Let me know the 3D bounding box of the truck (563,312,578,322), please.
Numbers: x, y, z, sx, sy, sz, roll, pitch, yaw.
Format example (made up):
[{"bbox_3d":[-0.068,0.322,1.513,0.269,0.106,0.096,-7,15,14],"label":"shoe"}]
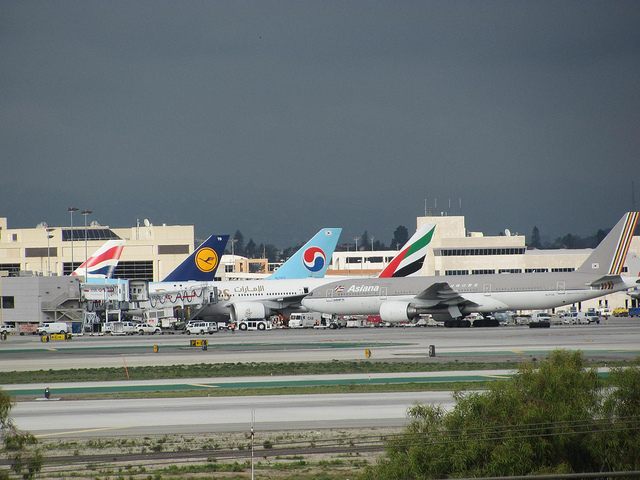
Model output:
[{"bbox_3d":[19.914,6.180,108.072,1.131,1.017,3.185,-2,-9,10],"label":"truck"}]

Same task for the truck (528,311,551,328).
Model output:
[{"bbox_3d":[16.772,6.102,103.288,1.090,1.021,1.976,-1,-7,-3],"label":"truck"}]

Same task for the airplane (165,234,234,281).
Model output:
[{"bbox_3d":[-11.146,1.639,121.323,6.328,2.814,4.366,-9,4,-40],"label":"airplane"}]

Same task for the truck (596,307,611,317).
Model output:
[{"bbox_3d":[25.015,6.351,119.914,1.276,0.875,1.947,1,4,9],"label":"truck"}]

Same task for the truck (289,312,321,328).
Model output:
[{"bbox_3d":[-1.039,6.256,105.648,2.164,0.999,1.432,3,-5,-37],"label":"truck"}]

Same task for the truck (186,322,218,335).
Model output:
[{"bbox_3d":[-8.557,6.423,98.044,1.463,0.556,1.052,2,0,23],"label":"truck"}]

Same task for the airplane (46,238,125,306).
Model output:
[{"bbox_3d":[-18.433,2.930,108.423,7.372,4.728,4.823,3,17,32],"label":"airplane"}]

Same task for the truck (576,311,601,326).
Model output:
[{"bbox_3d":[21.062,6.205,107.075,1.204,0.895,1.739,1,-7,-36],"label":"truck"}]

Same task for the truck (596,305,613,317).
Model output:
[{"bbox_3d":[25.131,6.332,120.082,1.306,0.949,2.000,0,5,8],"label":"truck"}]

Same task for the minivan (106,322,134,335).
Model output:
[{"bbox_3d":[-14.677,6.622,101.803,2.337,1.003,1.789,-4,-10,25],"label":"minivan"}]

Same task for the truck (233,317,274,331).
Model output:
[{"bbox_3d":[-5.090,6.441,103.410,2.898,1.238,3.019,1,-9,-5],"label":"truck"}]
